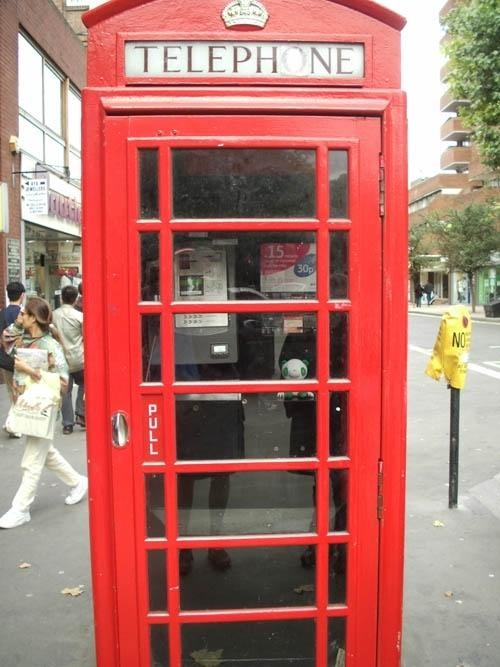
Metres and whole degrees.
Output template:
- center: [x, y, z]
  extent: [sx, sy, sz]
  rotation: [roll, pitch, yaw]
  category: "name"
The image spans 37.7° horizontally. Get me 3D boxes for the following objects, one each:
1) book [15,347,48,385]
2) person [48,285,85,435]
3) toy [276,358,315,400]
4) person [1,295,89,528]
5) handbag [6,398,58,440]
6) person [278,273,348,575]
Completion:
- center: [-1.479, 0.225, 5.005]
  extent: [0.216, 0.254, 0.066]
  rotation: [3, 7, -6]
  category: "book"
- center: [-1.668, 0.289, 6.729]
  extent: [0.414, 1.563, 0.519]
  rotation: [4, 13, -6]
  category: "person"
- center: [0.160, 0.151, 2.619]
  extent: [0.126, 0.218, 0.130]
  rotation: [0, 0, 1]
  category: "toy"
- center: [-1.603, 0.509, 5.293]
  extent: [0.494, 1.907, 0.773]
  rotation: [0, 1, 23]
  category: "person"
- center: [-1.515, 0.597, 5.045]
  extent: [0.357, 0.293, 0.199]
  rotation: [-1, 4, -1]
  category: "handbag"
- center: [0.226, 0.326, 2.628]
  extent: [0.240, 1.078, 0.077]
  rotation: [0, 3, 10]
  category: "person"
